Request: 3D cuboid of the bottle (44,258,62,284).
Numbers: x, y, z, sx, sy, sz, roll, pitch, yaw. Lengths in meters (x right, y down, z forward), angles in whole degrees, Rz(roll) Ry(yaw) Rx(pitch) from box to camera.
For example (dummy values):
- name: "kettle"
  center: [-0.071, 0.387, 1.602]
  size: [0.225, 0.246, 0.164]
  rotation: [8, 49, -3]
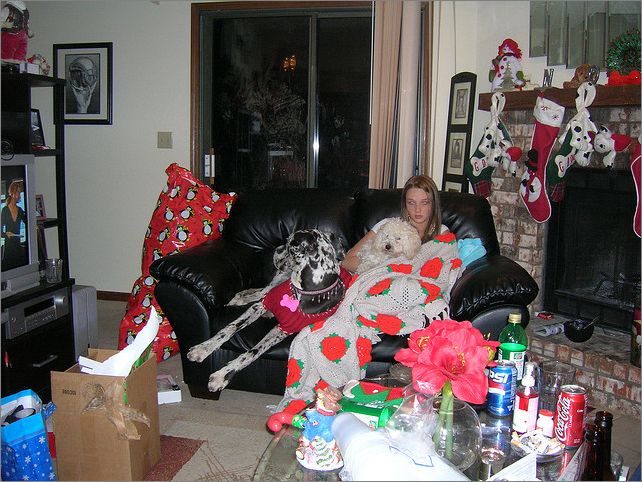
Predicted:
- name: "bottle"
  center: [-1.610, 0.176, 2.860]
  size: [0.085, 0.153, 0.118]
  rotation: [4, 5, 13]

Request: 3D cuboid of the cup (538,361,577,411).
- name: "cup"
  center: [0.810, 0.503, 1.646]
  size: [0.107, 0.183, 0.113]
  rotation: [-1, 18, 0]

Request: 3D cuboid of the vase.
- name: "vase"
  center: [0.359, 0.574, 1.415]
  size: [0.155, 0.163, 0.154]
  rotation: [28, 24, -9]

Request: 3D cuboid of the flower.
- name: "flower"
  center: [0.358, 0.440, 1.561]
  size: [0.345, 0.397, 0.336]
  rotation: [0, 0, -8]

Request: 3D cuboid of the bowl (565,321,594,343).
- name: "bowl"
  center: [1.544, 0.529, 2.872]
  size: [0.148, 0.102, 0.114]
  rotation: [3, -3, -42]

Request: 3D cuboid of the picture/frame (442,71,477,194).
- name: "picture/frame"
  center: [1.064, -0.844, 3.675]
  size: [0.133, 0.892, 0.364]
  rotation: [-3, 13, -15]

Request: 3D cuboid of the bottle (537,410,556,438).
- name: "bottle"
  center: [0.735, 0.597, 1.561]
  size: [0.052, 0.096, 0.054]
  rotation: [-1, 16, 0]
